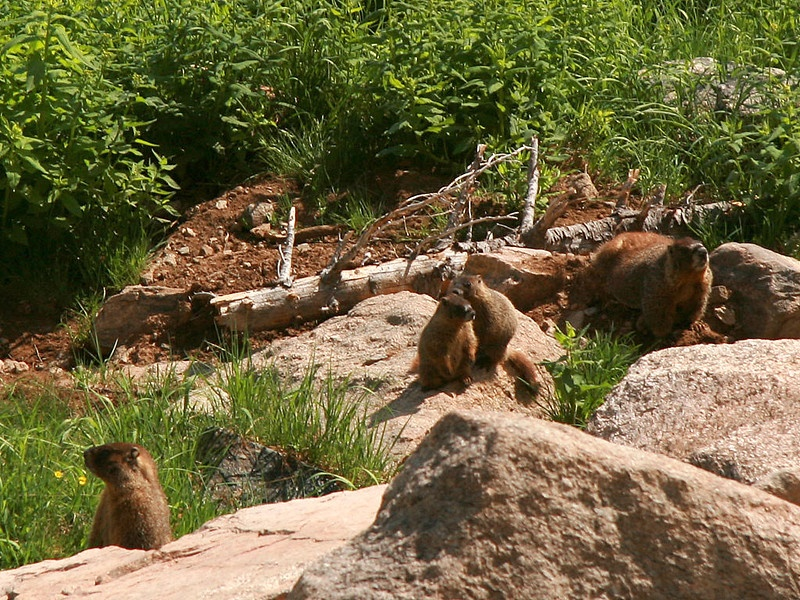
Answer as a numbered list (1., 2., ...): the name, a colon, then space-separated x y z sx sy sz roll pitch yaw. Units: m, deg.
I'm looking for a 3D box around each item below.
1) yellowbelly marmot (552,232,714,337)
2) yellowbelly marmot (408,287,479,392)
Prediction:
1. yellowbelly marmot: 2.161 -0.181 9.351 0.738 0.761 1.348 -5 15 -20
2. yellowbelly marmot: 0.367 0.328 8.245 0.442 0.774 0.319 -1 19 0
